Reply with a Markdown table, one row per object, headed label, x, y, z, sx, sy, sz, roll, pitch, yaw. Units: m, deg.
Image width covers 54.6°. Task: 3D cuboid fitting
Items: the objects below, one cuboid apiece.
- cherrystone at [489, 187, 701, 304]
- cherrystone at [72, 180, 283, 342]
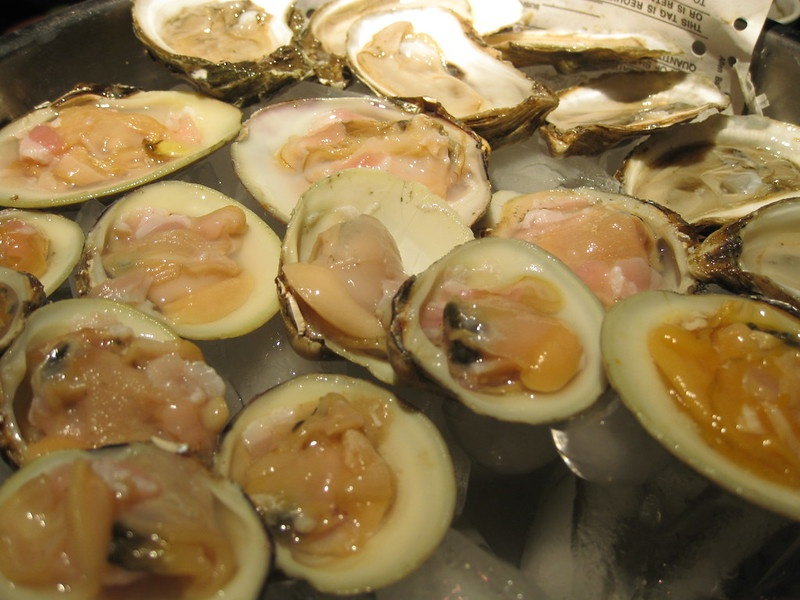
| label | x | y | z | sx | sy | sz | roll | pitch | yaw |
| --- | --- | --- | --- | --- | --- | --- | --- | --- | --- |
| cherrystone | 0.551 | -0.124 | 2.244 | 0.479 | 0.133 | 0.332 | 24 | 67 | 18 |
| cherrystone | -0.611 | -0.105 | 2.172 | 0.521 | 0.173 | 0.464 | -32 | 85 | -15 |
